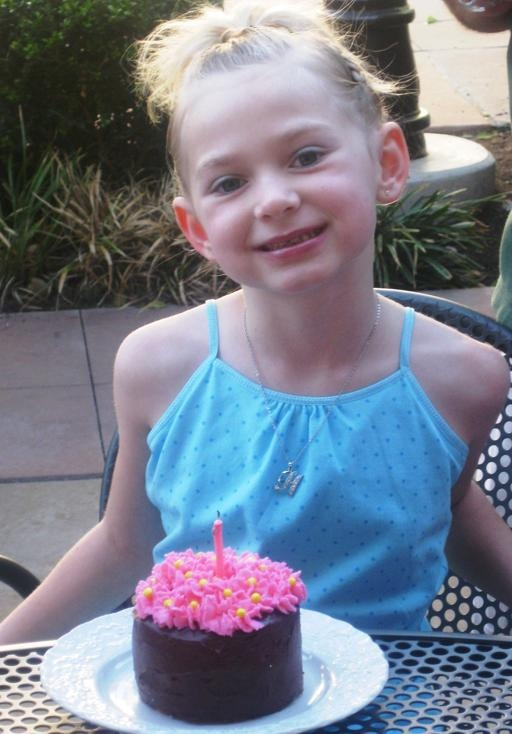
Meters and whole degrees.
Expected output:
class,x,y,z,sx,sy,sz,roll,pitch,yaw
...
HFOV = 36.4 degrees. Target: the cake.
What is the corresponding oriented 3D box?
class,x,y,z,sx,sy,sz,roll,pitch,yaw
cake,-0.055,0.281,0.880,0.190,0.118,0.179,-2,3,-34
